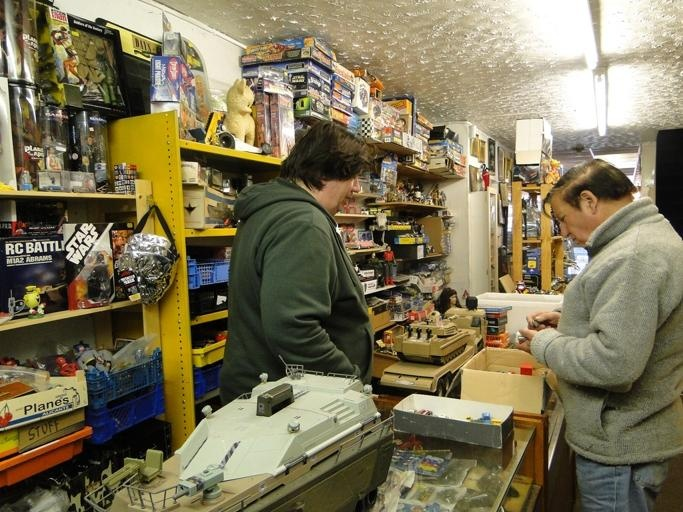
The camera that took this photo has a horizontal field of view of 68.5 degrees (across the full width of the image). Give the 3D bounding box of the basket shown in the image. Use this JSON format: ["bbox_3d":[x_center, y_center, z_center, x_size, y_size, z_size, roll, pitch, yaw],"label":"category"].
[{"bbox_3d":[-1.045,0.692,2.451,0.269,0.269,0.397,-3,-1,22],"label":"basket"}]

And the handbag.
[{"bbox_3d":[-0.973,-0.009,2.538,0.188,0.500,0.262,1,8,32],"label":"handbag"}]

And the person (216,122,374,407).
[{"bbox_3d":[-0.116,0.018,1.955,0.625,1.109,0.627,-8,8,-39],"label":"person"}]
